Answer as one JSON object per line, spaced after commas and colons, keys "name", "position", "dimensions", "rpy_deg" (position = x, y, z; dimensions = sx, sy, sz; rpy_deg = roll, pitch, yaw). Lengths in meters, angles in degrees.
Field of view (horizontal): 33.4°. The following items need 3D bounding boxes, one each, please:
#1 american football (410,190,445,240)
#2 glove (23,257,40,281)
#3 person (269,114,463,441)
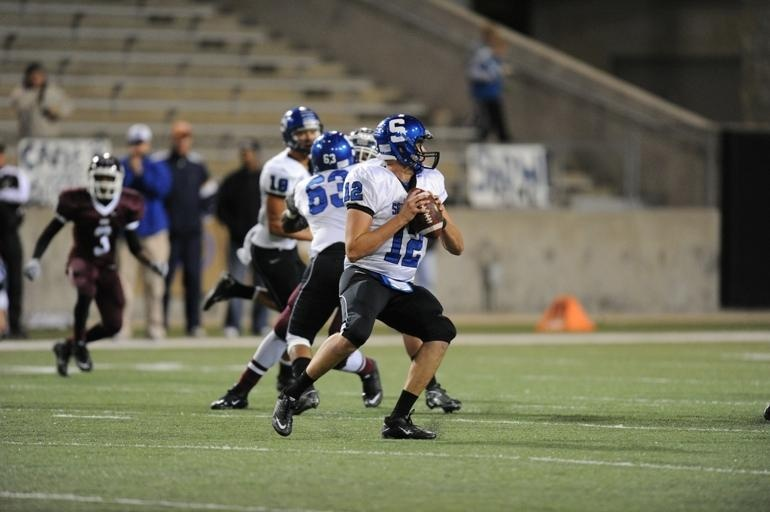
{"name": "american football", "position": [0.331, -0.316, 10.120], "dimensions": [0.226, 0.307, 0.200], "rpy_deg": [12, -27, -22]}
{"name": "glove", "position": [-3.616, 0.144, 13.102], "dimensions": [0.130, 0.112, 0.297], "rpy_deg": [7, 16, -7]}
{"name": "person", "position": [-0.039, 0.140, 10.238], "dimensions": [1.279, 2.609, 0.549], "rpy_deg": [4, -3, 2]}
